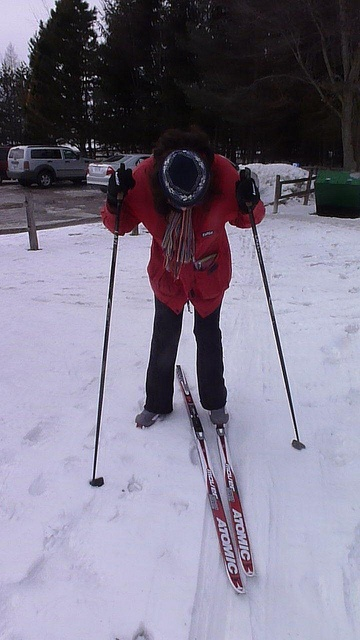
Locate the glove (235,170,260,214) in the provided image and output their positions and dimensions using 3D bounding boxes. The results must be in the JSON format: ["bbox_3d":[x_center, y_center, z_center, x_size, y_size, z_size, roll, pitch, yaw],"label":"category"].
[{"bbox_3d":[0.251,-0.516,1.938,0.051,0.114,0.158,-7,43,-4],"label":"glove"}]

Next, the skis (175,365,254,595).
[{"bbox_3d":[0.153,0.698,2.050,0.092,0.054,0.878,6,21,-11],"label":"skis"}]

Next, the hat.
[{"bbox_3d":[0.017,-0.575,1.833,0.247,0.313,0.212,-3,13,-2],"label":"hat"}]

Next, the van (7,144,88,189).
[{"bbox_3d":[-4.338,-5.240,15.807,1.368,1.320,2.884,21,37,32],"label":"van"}]

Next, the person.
[{"bbox_3d":[0.013,-0.100,2.181,0.608,1.432,0.463,-3,32,-4],"label":"person"}]
